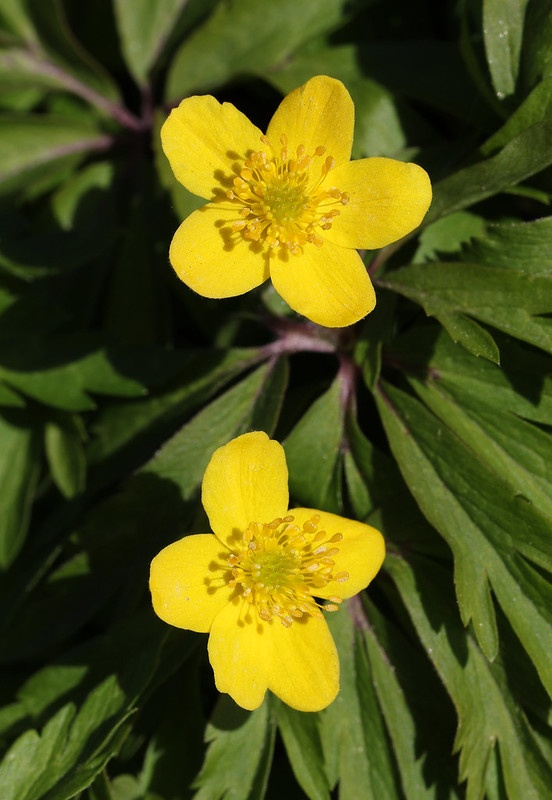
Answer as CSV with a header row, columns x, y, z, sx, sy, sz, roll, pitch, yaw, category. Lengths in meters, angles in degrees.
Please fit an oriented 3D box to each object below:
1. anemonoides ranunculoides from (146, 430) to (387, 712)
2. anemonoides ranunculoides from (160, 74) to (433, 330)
x,y,z,sx,sy,sz,roll,pitch,yaw,category
-0.037,0.167,0.867,0.314,0.297,0.070,-60,24,-12,anemonoides ranunculoides
0.017,-0.215,0.777,0.296,0.219,0.102,-23,-13,-4,anemonoides ranunculoides
